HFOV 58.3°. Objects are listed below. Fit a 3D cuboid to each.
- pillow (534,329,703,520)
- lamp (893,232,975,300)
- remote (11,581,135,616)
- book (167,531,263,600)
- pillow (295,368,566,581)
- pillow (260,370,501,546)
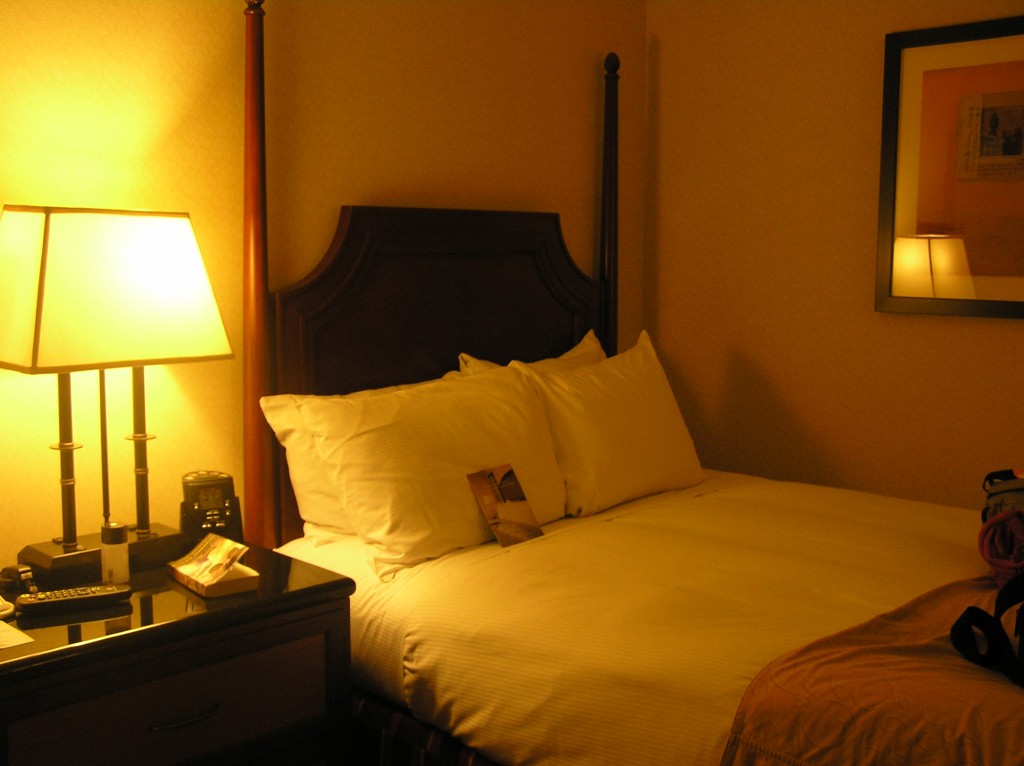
[{"bbox_3d":[0.299,0.161,2.991,0.518,0.516,0.152,-13,-11,-44],"label":"pillow"},{"bbox_3d":[1.541,-0.424,3.358,0.255,0.262,0.215,3,8,45],"label":"lamp"},{"bbox_3d":[-0.972,0.476,2.040,0.191,0.033,0.092,1,2,-28],"label":"remote"},{"bbox_3d":[-0.685,0.436,2.144,0.106,0.082,0.196,0,3,-33],"label":"book"},{"bbox_3d":[-0.240,0.216,2.545,0.597,0.538,0.173,-14,-14,-39],"label":"pillow"},{"bbox_3d":[-0.375,0.231,2.572,0.401,0.440,0.120,-8,14,-28],"label":"pillow"}]
